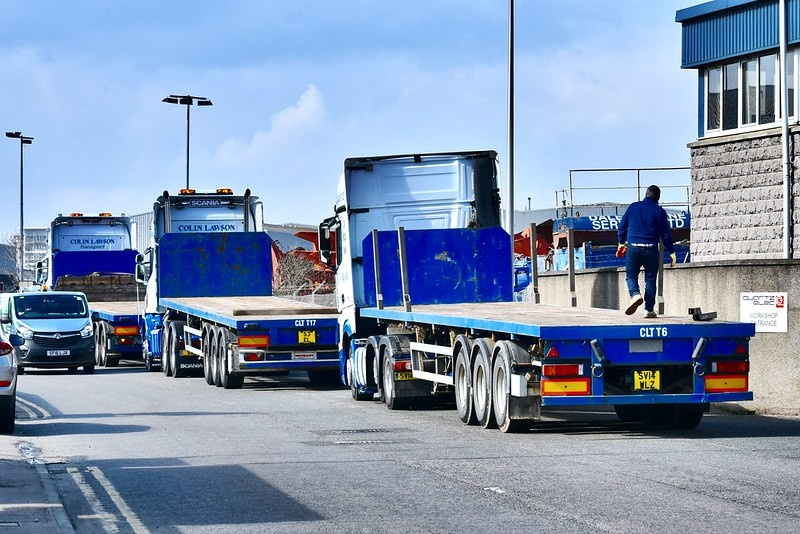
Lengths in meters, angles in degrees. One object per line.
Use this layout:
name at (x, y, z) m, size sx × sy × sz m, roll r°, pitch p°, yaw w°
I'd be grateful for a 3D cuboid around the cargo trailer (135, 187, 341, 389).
cargo trailer at (-3.164, 0.552, 32.777) m, size 3.408 × 5.234 × 9.754 m, roll 1°, pitch 2°, yaw -25°

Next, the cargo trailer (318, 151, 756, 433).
cargo trailer at (2.269, 0.505, 24.399) m, size 3.689 × 4.854 × 10.433 m, roll 0°, pitch 1°, yaw -26°

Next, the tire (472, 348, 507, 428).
tire at (1.500, 1.954, 20.984) m, size 0.496 × 1.595 × 1.315 m, roll 2°, pitch -2°, yaw -8°

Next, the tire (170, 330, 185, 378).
tire at (-5.734, 2.176, 32.798) m, size 0.263 × 1.245 × 0.681 m, roll 1°, pitch -2°, yaw -38°

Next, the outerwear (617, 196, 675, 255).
outerwear at (4.423, -0.760, 22.930) m, size 1.060 × 0.959 × 0.501 m, roll 7°, pitch -1°, yaw 37°

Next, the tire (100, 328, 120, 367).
tire at (-8.700, 2.347, 38.240) m, size 0.537 × 1.218 × 1.602 m, roll 0°, pitch -2°, yaw -15°

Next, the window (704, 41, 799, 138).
window at (8.826, -4.414, 31.695) m, size 0.108 × 1.577 × 2.755 m, roll 3°, pitch -4°, yaw -33°

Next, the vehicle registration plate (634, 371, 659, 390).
vehicle registration plate at (3.879, 1.758, 20.067) m, size 0.483 × 0.351 × 0.269 m, roll -1°, pitch -5°, yaw 2°

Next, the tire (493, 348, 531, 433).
tire at (1.794, 1.956, 20.660) m, size 0.515 × 1.416 × 1.009 m, roll 0°, pitch -2°, yaw -7°
